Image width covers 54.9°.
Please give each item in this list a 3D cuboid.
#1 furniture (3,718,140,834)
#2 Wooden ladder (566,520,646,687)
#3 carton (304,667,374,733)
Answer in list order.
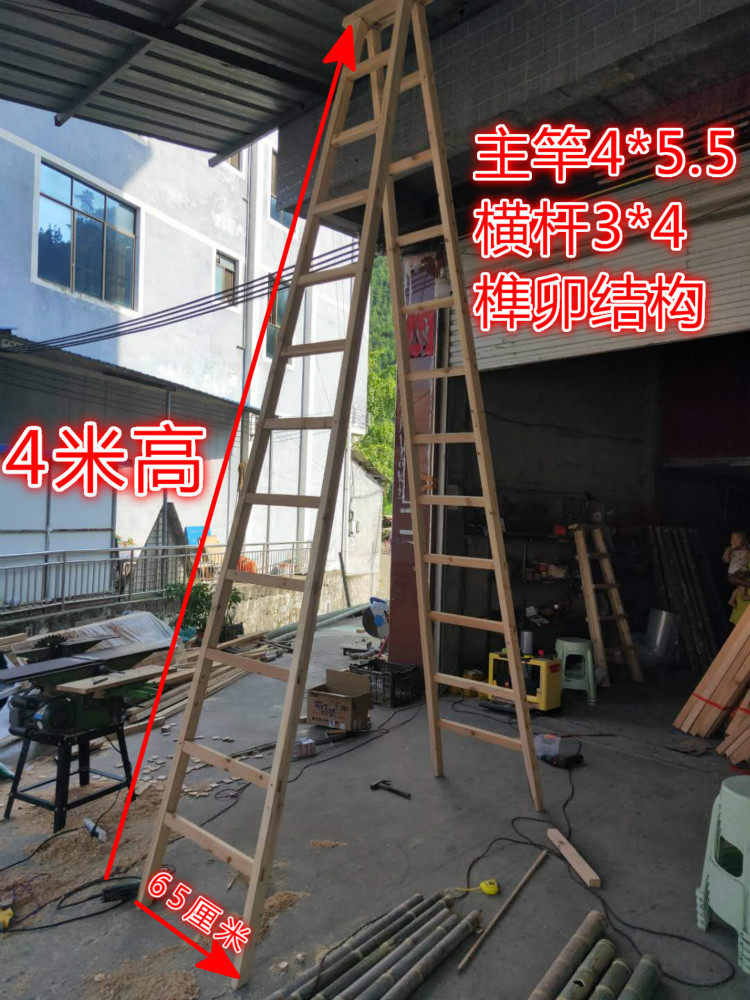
[{"bbox_3d":[-1.878,1.702,4.496,0.668,0.628,0.647,-1,0,39],"label":"furniture"},{"bbox_3d":[2.668,1.162,8.339,0.830,1.739,1.471,0,-1,20],"label":"Wooden ladder"},{"bbox_3d":[-0.332,1.713,6.221,0.598,0.404,0.362,1,-3,25],"label":"carton"}]
